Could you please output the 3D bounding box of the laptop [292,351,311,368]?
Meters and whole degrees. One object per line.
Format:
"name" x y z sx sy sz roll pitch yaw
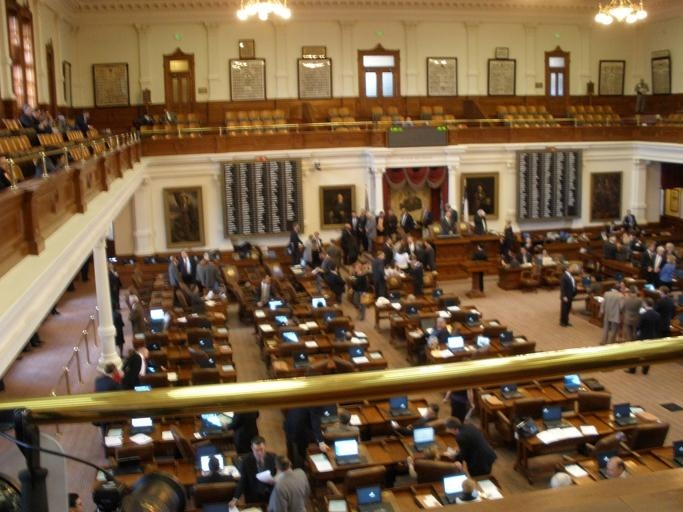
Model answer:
"laptop" -0.817 2.106 10.947 0.239 0.301 0.266 0 -7 -11

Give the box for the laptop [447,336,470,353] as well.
"laptop" 2.480 1.885 11.582 0.357 0.269 0.294 0 6 0

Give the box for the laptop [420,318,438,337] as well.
"laptop" 2.071 1.691 12.757 0.298 0.454 0.351 0 9 -3

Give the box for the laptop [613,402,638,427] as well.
"laptop" 4.691 2.618 8.932 0.327 0.279 0.352 -3 17 -2

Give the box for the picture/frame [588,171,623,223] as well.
"picture/frame" 11.626 -2.626 23.624 1.435 2.179 0.078 -1 6 0

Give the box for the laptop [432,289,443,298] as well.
"laptop" 2.745 1.053 15.307 0.213 0.242 0.222 3 -4 -6

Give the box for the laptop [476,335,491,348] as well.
"laptop" 3.048 1.817 11.485 0.235 0.261 0.256 -1 -7 10

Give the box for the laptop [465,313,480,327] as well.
"laptop" 3.184 1.527 13.052 0.318 0.352 0.263 -2 10 -7

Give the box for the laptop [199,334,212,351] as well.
"laptop" -2.988 1.933 11.986 0.213 0.328 0.309 0 34 -34

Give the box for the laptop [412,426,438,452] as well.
"laptop" 1.295 2.813 8.384 0.329 0.233 0.261 -4 15 -13

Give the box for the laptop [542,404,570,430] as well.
"laptop" 3.499 2.664 8.922 0.280 0.341 0.233 1 -8 1
